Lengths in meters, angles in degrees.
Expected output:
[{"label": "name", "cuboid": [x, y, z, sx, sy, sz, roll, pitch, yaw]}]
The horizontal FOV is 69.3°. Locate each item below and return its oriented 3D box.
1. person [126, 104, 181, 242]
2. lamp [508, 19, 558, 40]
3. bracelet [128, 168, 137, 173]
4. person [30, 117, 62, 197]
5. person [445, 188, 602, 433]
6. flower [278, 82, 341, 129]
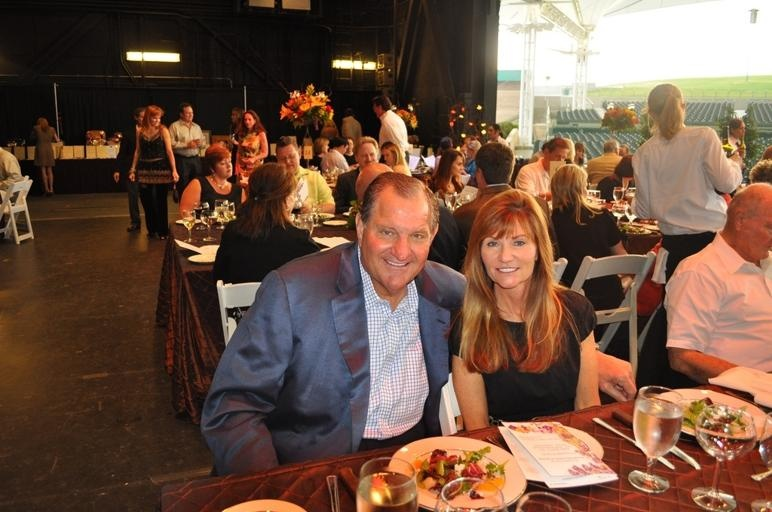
[{"label": "person", "cuboid": [-3.499, -1.234, 8.344, 0.638, 1.938, 0.727, -7, 15, -25]}, {"label": "lamp", "cuboid": [3.468, -5.518, 13.616, 0.999, 0.411, 0.675, 2, 14, 11]}, {"label": "bracelet", "cuboid": [-3.844, -1.309, 8.457, 0.111, 0.049, 0.113, 4, 15, 1]}, {"label": "person", "cuboid": [-7.508, -2.161, 12.294, 0.406, 1.664, 0.585, -11, 17, -34]}, {"label": "person", "cuboid": [0.614, 0.305, 2.514, 0.681, 1.145, 0.609, -6, 11, 8]}, {"label": "flower", "cuboid": [-1.292, -2.347, 9.157, 0.730, 0.802, 0.731, -1, 0, -33]}]
